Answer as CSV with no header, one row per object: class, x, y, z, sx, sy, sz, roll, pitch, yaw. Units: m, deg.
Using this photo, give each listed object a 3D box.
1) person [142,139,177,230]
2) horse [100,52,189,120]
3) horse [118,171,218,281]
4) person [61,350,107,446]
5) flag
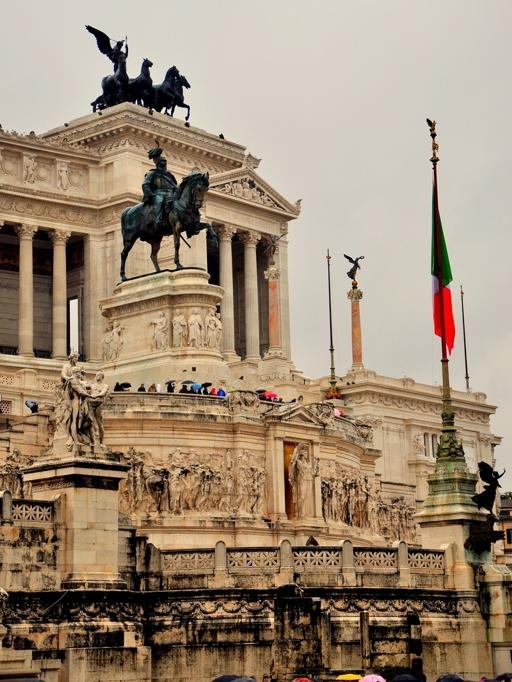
person,-3.875,-6.334,50.874,0.901,3.979,1.060,-2,7,35
horse,-6.977,-15.883,79.684,5.410,4.946,3.195,5,-22,-21
horse,-3.687,-4.622,50.620,4.739,4.022,1.485,-9,-9,36
person,-3.908,1.479,28.445,0.951,2.132,0.714,9,-23,-31
flag,5.267,-2.134,36.080,0.604,5.244,1.296,-6,-20,9
